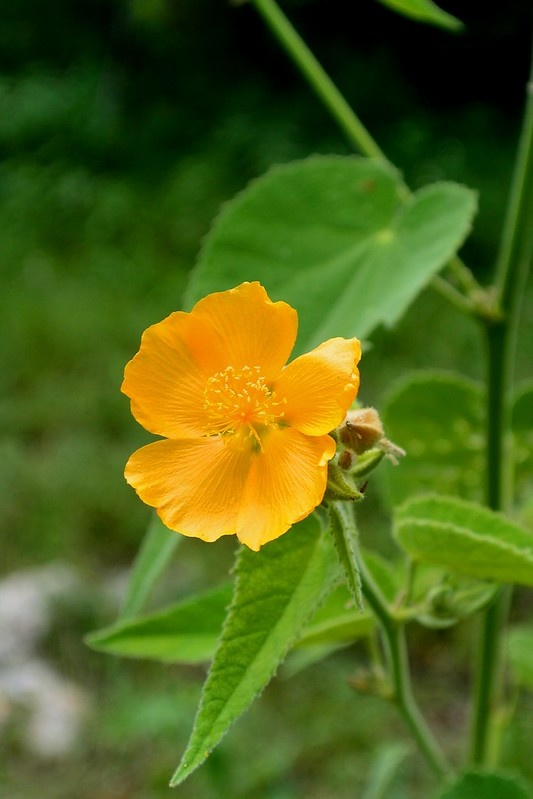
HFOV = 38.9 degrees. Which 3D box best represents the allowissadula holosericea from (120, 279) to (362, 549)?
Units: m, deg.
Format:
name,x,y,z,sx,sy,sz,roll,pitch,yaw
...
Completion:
name,x,y,z,sx,sy,sz,roll,pitch,yaw
allowissadula holosericea,0.012,0.022,0.825,0.113,0.284,0.271,14,77,-46
